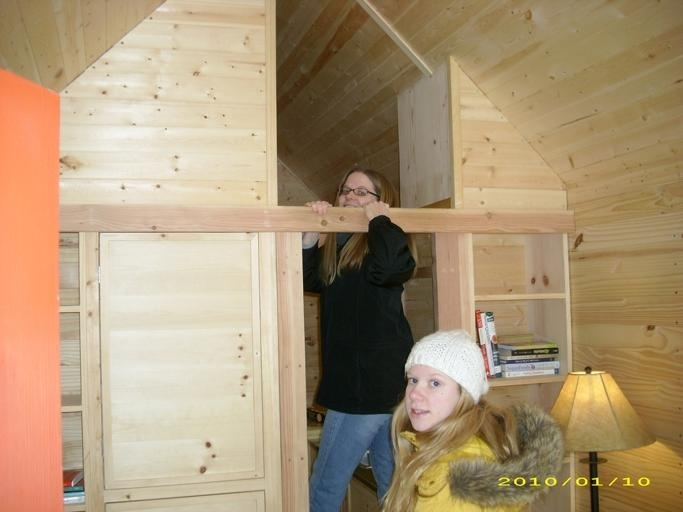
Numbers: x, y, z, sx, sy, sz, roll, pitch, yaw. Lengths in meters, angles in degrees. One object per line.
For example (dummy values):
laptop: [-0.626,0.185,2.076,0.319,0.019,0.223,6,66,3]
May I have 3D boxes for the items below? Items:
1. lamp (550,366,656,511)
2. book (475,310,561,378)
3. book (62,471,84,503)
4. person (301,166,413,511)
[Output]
lamp: [1.082,0.635,2.296,0.388,0.326,0.159,-4,-4,24]
book: [0.897,0.446,2.841,0.435,0.230,0.364,1,-8,-2]
book: [-1.099,0.945,2.257,0.069,0.111,0.111,0,-4,-28]
person: [0.069,0.332,2.436,0.548,1.498,0.417,-4,-4,15]
